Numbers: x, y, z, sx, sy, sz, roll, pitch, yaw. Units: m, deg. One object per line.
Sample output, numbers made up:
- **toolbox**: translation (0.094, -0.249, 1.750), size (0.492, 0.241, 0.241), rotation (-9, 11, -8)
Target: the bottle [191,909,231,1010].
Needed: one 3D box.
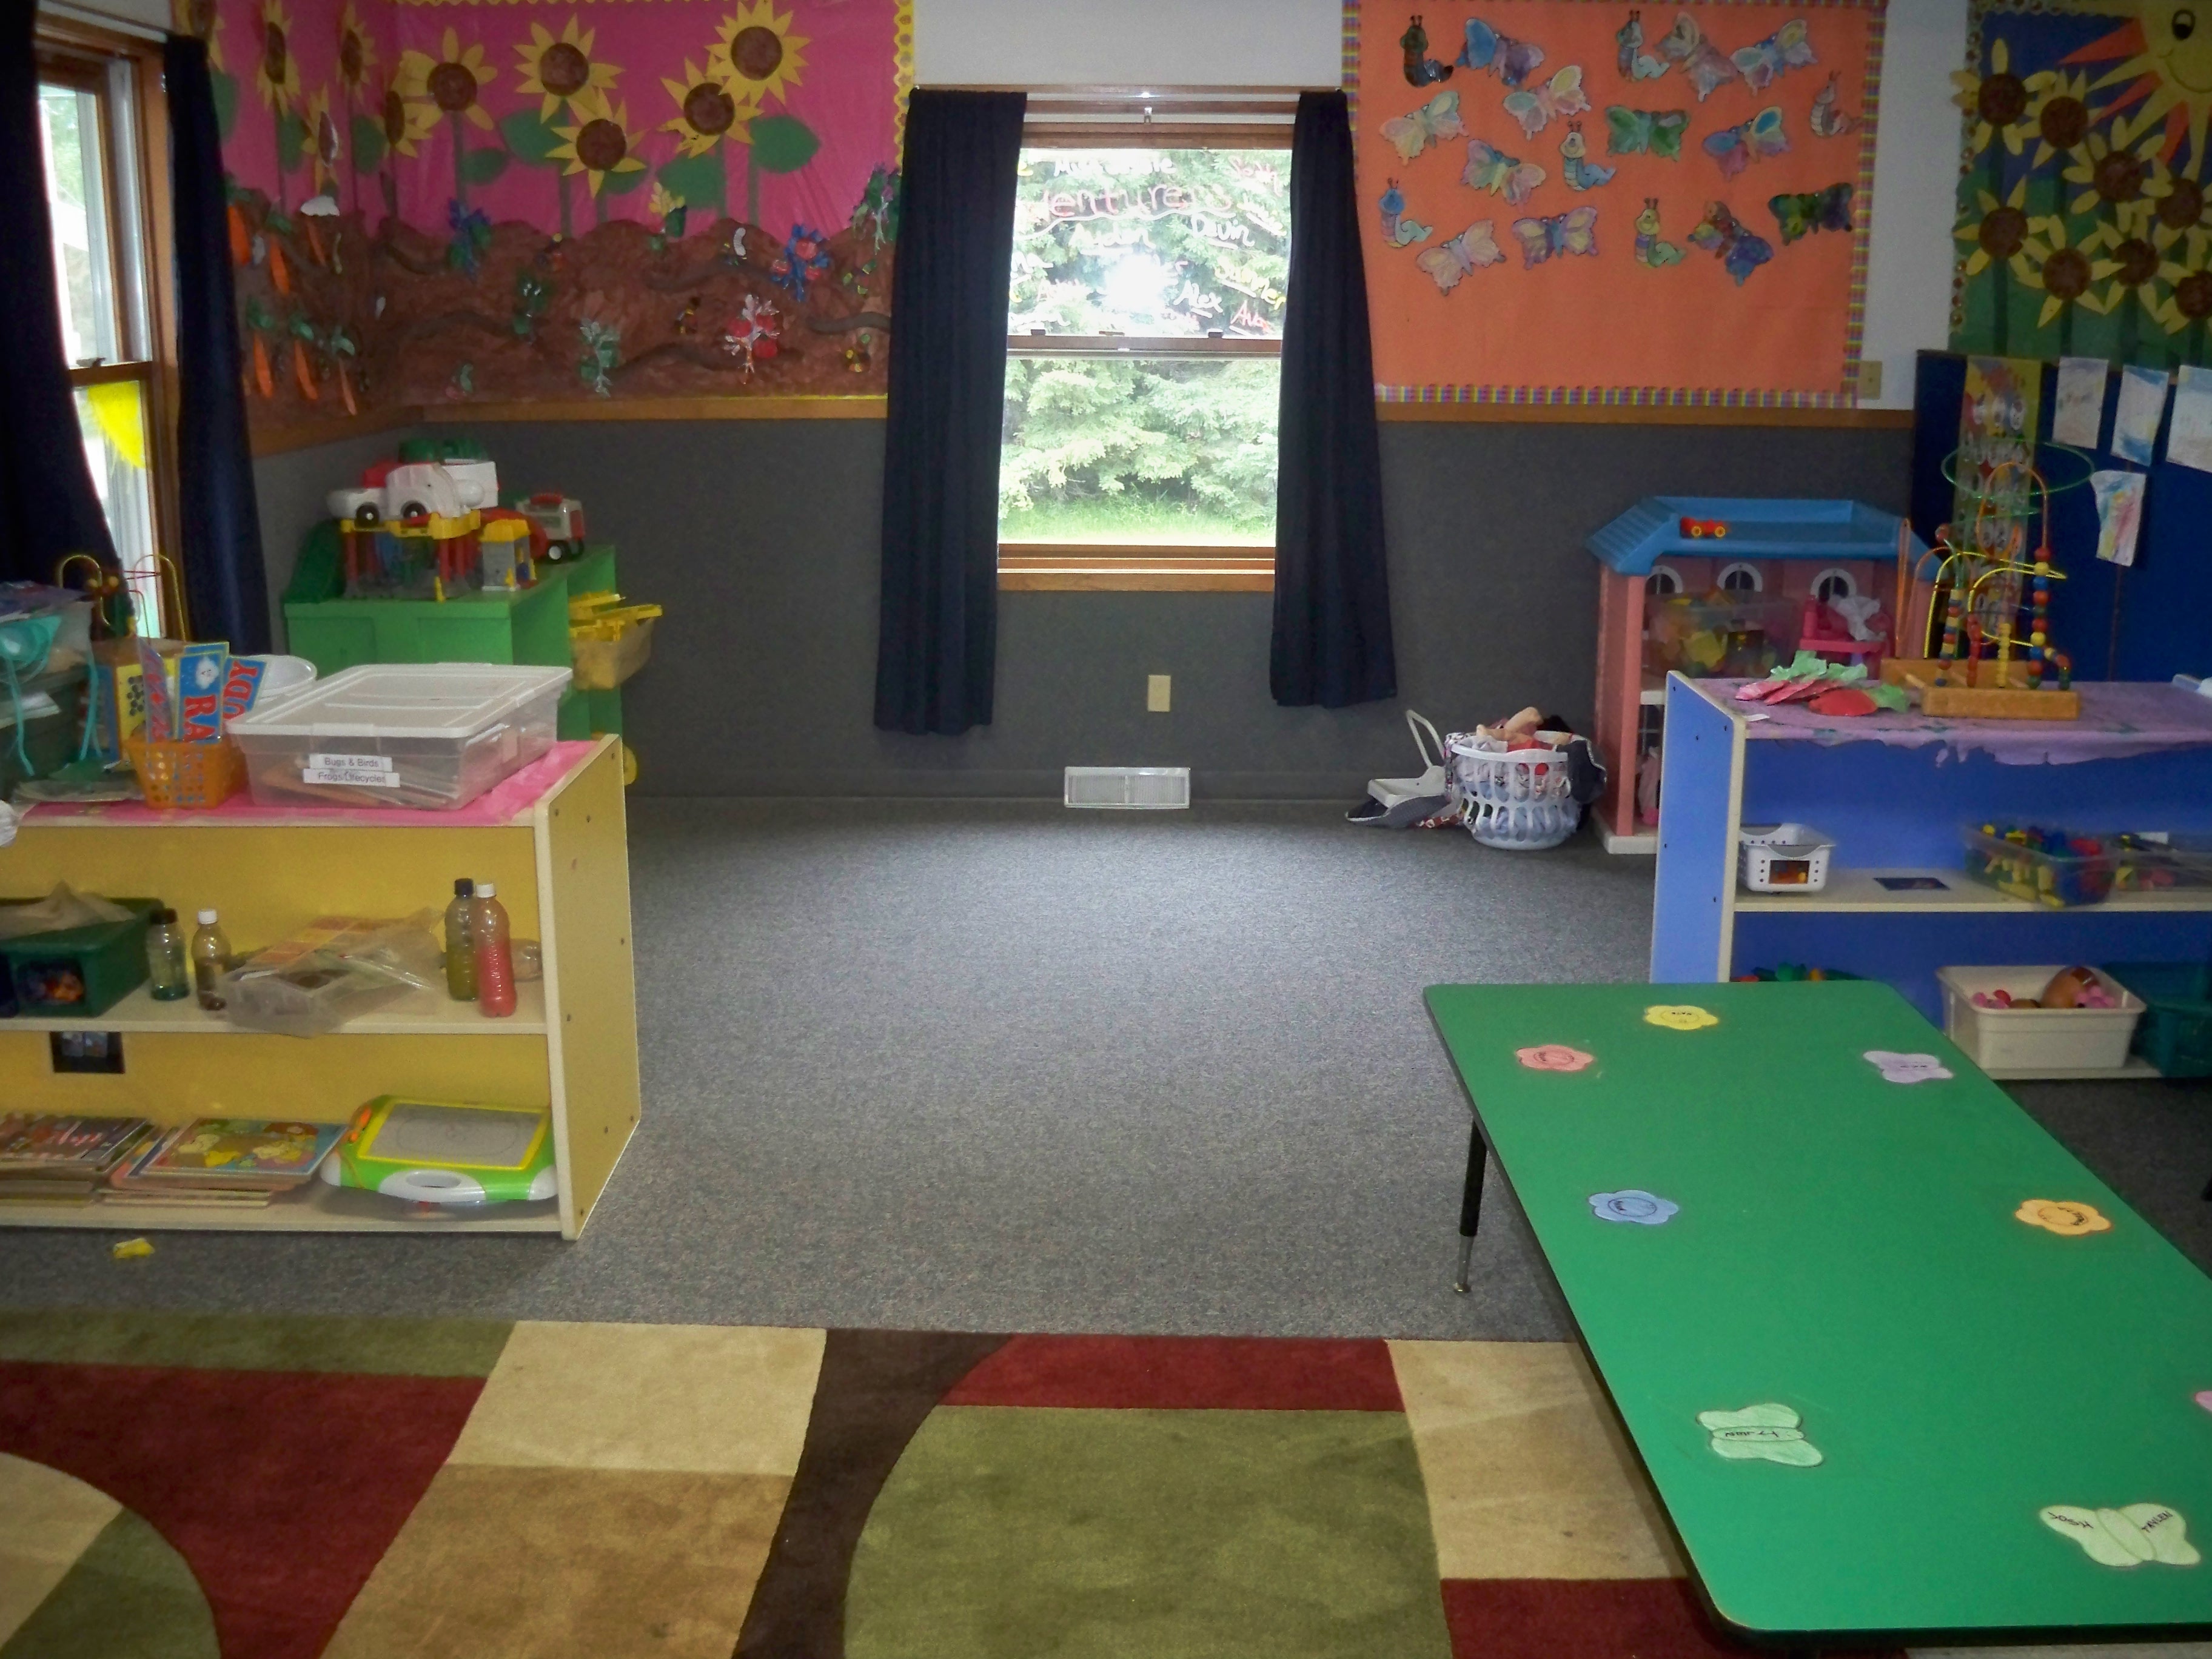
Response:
- **bottle**: translation (-1.822, 0.256, 3.301), size (0.072, 0.196, 0.201), rotation (-10, 19, -31)

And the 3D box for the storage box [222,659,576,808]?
- **storage box**: translation (-1.467, -0.207, 3.390), size (0.530, 0.205, 0.480), rotation (2, 16, 7)

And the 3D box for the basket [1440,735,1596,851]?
- **basket**: translation (1.506, -0.154, 5.901), size (0.459, 0.299, 0.442), rotation (0, 8, 7)

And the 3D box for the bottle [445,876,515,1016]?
- **bottle**: translation (-1.275, 0.243, 3.290), size (0.119, 0.282, 0.214), rotation (-11, 19, -36)

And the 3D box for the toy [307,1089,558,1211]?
- **toy**: translation (-1.400, 0.685, 3.458), size (0.504, 0.165, 0.226), rotation (2, 16, 5)

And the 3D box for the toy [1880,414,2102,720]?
- **toy**: translation (2.324, -0.597, 4.304), size (0.378, 0.581, 0.667), rotation (-1, 6, 24)

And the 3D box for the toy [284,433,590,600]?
- **toy**: translation (-2.129, -1.007, 5.363), size (0.489, 0.346, 0.777), rotation (6, 7, 43)

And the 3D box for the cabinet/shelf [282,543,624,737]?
- **cabinet/shelf**: translation (-2.191, -0.562, 5.420), size (0.617, 0.746, 1.147), rotation (0, 9, -1)
